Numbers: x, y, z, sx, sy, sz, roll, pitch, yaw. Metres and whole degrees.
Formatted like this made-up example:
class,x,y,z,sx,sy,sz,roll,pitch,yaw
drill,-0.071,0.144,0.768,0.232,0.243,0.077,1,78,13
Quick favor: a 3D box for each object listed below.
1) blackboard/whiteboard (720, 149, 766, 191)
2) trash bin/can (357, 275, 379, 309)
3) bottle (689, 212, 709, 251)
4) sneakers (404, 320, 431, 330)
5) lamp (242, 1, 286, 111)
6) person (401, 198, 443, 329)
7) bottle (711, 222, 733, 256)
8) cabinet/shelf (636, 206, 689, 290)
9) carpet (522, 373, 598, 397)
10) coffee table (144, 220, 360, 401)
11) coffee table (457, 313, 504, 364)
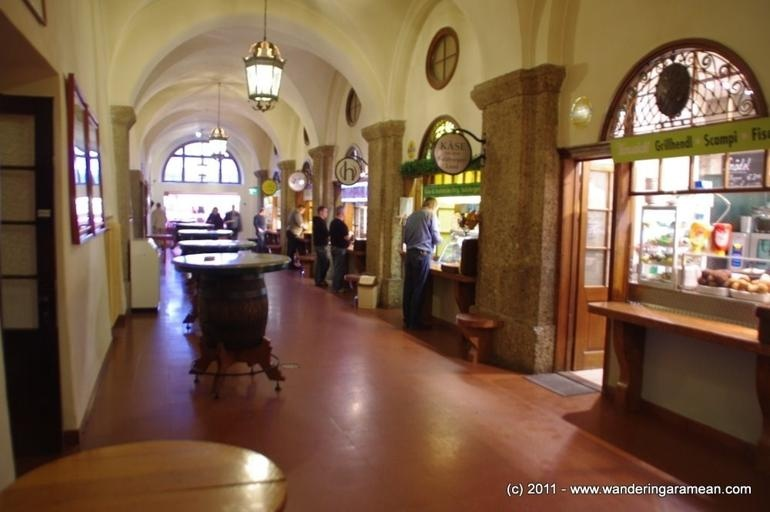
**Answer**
class,x,y,z,sx,sy,sz,roll,pitch,yaw
blackboard/whiteboard,3.291,-0.799,5.040,0.035,0.332,0.320,2,10,-24
trash bin/can,-0.309,0.646,10.125,0.529,0.766,0.514,1,1,4
bottle,3.180,-0.195,5.586,0.211,0.296,0.105,8,11,34
sneakers,0.558,1.099,8.808,0.461,0.206,0.171,0,0,-16
lamp,-1.590,-2.434,7.295,0.479,0.934,0.438,-1,10,-14
person,0.583,0.095,8.714,0.544,2.073,0.414,1,9,0
bottle,3.326,-0.178,5.451,0.182,0.296,0.074,7,11,32
cabinet/shelf,2.910,-0.129,5.804,0.142,0.832,0.542,-4,11,-29
carpet,2.045,1.490,6.430,0.501,0.029,0.726,-4,11,-28
coffee table,-1.772,0.742,6.483,1.462,1.659,1.463,0,4,-17
coffee table,1.245,1.016,7.375,0.543,0.599,0.678,0,4,-5
